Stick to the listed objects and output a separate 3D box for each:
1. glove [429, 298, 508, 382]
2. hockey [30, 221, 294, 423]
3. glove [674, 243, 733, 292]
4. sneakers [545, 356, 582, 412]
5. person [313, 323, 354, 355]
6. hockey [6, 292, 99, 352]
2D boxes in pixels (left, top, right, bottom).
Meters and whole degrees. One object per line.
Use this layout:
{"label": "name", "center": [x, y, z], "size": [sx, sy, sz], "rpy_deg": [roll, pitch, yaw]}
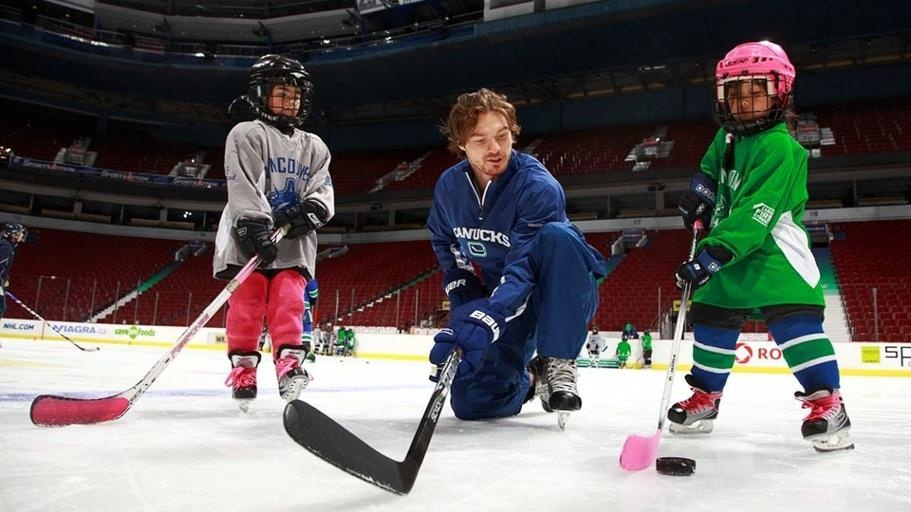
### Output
{"label": "glove", "center": [0.100, 0.669, 4.823], "size": [0.679, 0.416, 0.262], "rpy_deg": [-43, -14, -31]}
{"label": "hockey", "center": [-2.654, 0.894, 5.669], "size": [2.690, 0.578, 0.452], "rpy_deg": [-39, -1, 13]}
{"label": "glove", "center": [2.016, 0.096, 5.064], "size": [0.371, 0.146, 0.194], "rpy_deg": [-12, 30, 36]}
{"label": "sneakers", "center": [0.898, 1.072, 5.139], "size": [0.275, 0.436, 0.258], "rpy_deg": [1, 5, 4]}
{"label": "person", "center": [-3.346, 2.367, 17.368], "size": [0.919, 0.432, 1.068], "rpy_deg": [3, -4, -5]}
{"label": "hockey", "center": [-10.810, 1.760, 16.452], "size": [0.308, 0.249, 2.547], "rpy_deg": [-32, -56, 23]}
